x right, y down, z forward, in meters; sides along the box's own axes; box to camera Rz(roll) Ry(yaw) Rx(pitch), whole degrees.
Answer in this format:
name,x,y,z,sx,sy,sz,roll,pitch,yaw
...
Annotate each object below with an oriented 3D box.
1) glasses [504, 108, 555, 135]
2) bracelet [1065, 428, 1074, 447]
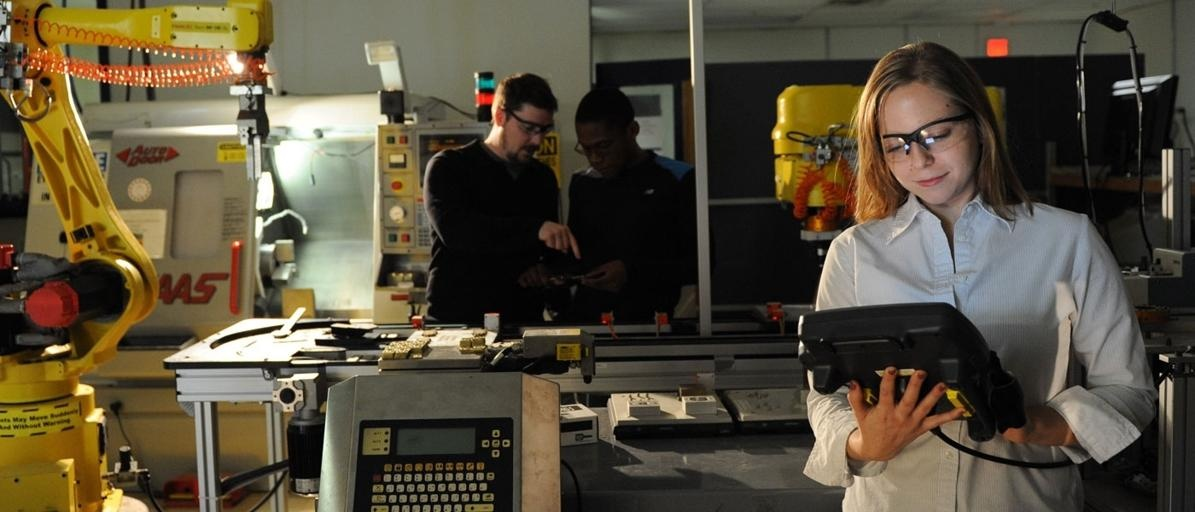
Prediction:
name,x,y,z,sx,sy,sz,roll,pitch,yaw
glasses,-0.544,-1.054,9.258,0.263,0.071,0.239,1,37,-32
bracelet,3.063,1.181,7.377,0.079,0.116,0.038,-2,5,18
